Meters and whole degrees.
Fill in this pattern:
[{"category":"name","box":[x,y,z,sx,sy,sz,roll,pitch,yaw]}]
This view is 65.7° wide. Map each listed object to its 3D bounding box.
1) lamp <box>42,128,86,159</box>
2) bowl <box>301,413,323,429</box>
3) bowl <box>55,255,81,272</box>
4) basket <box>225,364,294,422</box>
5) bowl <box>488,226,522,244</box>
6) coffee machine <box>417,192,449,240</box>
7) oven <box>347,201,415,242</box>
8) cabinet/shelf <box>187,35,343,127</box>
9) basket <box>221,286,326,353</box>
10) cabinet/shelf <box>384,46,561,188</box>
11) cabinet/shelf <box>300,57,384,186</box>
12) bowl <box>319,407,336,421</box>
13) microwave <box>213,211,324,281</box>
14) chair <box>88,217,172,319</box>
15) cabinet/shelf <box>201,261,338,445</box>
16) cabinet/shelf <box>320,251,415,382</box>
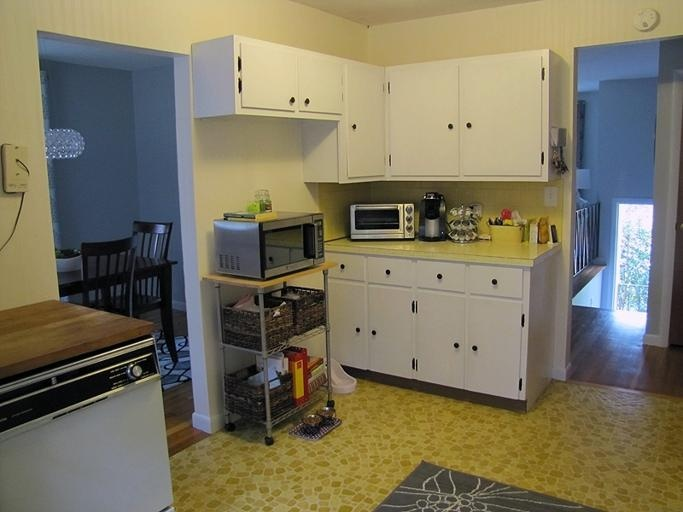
[{"category":"lamp","box":[-2.736,-1.092,5.148,0.184,0.259,0.405,3,14,17]},{"category":"bowl","box":[-0.208,1.125,3.621,0.088,0.032,0.092,-1,14,0]},{"category":"bowl","box":[-2.275,0.065,4.380,0.264,0.110,0.244,-1,0,0]},{"category":"basket","box":[-0.668,0.948,3.711,0.521,0.262,0.551,-8,-1,17]},{"category":"bowl","box":[1.300,-0.166,4.166,0.184,0.098,0.129,1,3,22]},{"category":"coffee machine","box":[0.747,-0.320,4.318,0.214,0.380,0.135,1,13,9]},{"category":"oven","box":[0.347,-0.215,4.471,0.520,0.344,0.361,-1,-21,5]},{"category":"cabinet/shelf","box":[-0.440,-1.191,3.707,0.378,0.491,1.107,7,13,38]},{"category":"basket","box":[-0.494,0.404,3.689,0.480,0.280,0.668,9,17,37]},{"category":"cabinet/shelf","box":[0.981,-1.085,4.195,1.237,0.934,0.456,3,25,21]},{"category":"cabinet/shelf","box":[-0.048,-1.059,4.295,0.656,0.946,0.542,-5,14,-12]},{"category":"bowl","box":[-0.091,1.084,3.673,0.084,0.033,0.085,2,14,0]},{"category":"microwave","box":[-0.460,-0.077,3.588,0.470,0.388,0.650,3,11,30]},{"category":"chair","box":[-1.953,0.231,4.769,0.716,1.074,0.665,-2,2,11]},{"category":"cabinet/shelf","box":[-0.463,0.608,3.712,0.456,1.090,0.857,4,11,33]},{"category":"cabinet/shelf","box":[0.221,0.450,4.395,0.726,0.939,0.454,-1,0,8]}]
